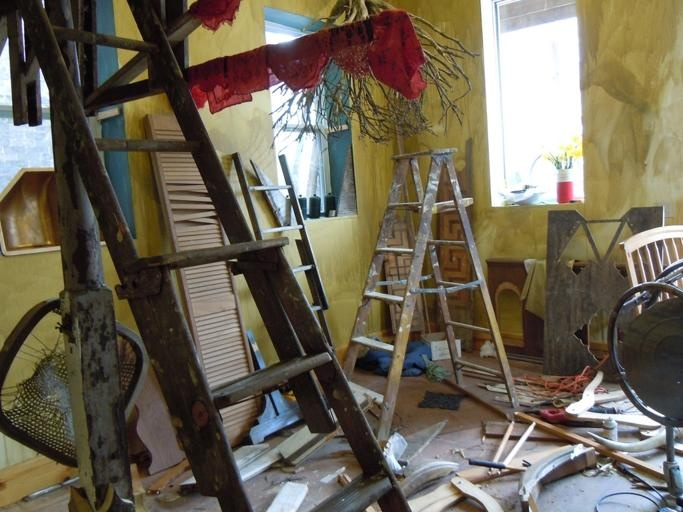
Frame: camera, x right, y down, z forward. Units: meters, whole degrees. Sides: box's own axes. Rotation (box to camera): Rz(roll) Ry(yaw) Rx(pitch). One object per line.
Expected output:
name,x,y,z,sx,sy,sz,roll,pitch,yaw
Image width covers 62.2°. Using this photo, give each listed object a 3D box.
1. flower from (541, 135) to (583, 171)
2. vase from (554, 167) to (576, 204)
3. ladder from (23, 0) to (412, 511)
flower,1.889,-0.871,4.777,0.366,0.273,0.297,0,10,37
vase,1.902,-0.596,4.758,0.153,0.288,0.108,-5,8,7
ladder,-0.469,0.011,2.159,1.112,2.183,0.708,1,10,38
